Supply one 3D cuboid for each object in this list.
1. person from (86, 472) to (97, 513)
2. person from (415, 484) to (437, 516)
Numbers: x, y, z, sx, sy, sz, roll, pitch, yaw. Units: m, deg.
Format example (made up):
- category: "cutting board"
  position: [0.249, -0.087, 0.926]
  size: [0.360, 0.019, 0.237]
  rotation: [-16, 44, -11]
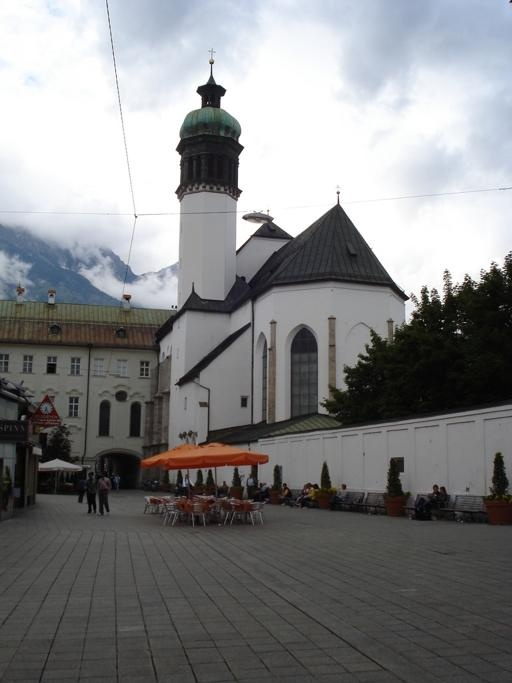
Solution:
- category: "person"
  position: [-6.632, 6.153, 23.709]
  size: [0.413, 1.536, 2.582]
  rotation: [3, -8, -15]
- category: "person"
  position: [5.124, 4.820, 17.772]
  size: [0.727, 0.978, 0.724]
  rotation: [-1, -8, 17]
